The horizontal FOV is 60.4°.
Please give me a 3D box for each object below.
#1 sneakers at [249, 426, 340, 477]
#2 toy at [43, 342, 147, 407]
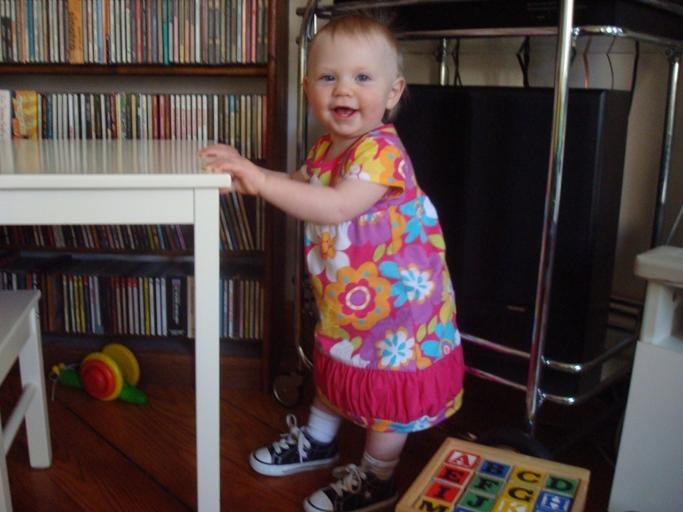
[{"bbox_3d":[-0.119,0.482,1.480,0.197,0.100,0.099,-1,24,-10],"label":"sneakers"},{"bbox_3d":[-0.714,0.335,1.723,0.229,0.112,0.176,4,27,6],"label":"toy"}]
